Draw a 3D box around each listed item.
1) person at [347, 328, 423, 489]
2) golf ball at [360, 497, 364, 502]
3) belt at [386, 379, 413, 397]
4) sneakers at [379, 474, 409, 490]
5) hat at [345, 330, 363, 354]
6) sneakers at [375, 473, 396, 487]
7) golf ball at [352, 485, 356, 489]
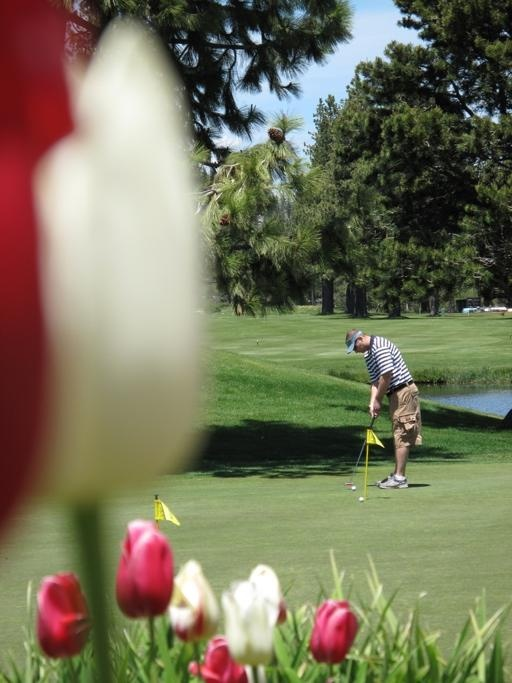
[{"bbox_3d":[1.093,0.593,8.926,0.714,1.362,0.761,7,0,5],"label":"person"},{"bbox_3d":[0.806,1.214,7.872,0.025,0.028,0.034,7,14,17],"label":"golf ball"},{"bbox_3d":[1.213,0.395,8.786,0.159,0.048,0.149,-17,-15,-48],"label":"belt"},{"bbox_3d":[1.161,1.193,8.707,0.229,0.116,0.109,1,-1,-3],"label":"sneakers"},{"bbox_3d":[0.900,-0.035,9.245,0.123,0.216,0.140,40,-24,-17],"label":"hat"},{"bbox_3d":[1.108,1.207,8.850,0.096,0.127,0.264,6,0,-8],"label":"sneakers"},{"bbox_3d":[0.853,1.290,9.062,0.024,0.031,0.025,-26,28,15],"label":"golf ball"}]
